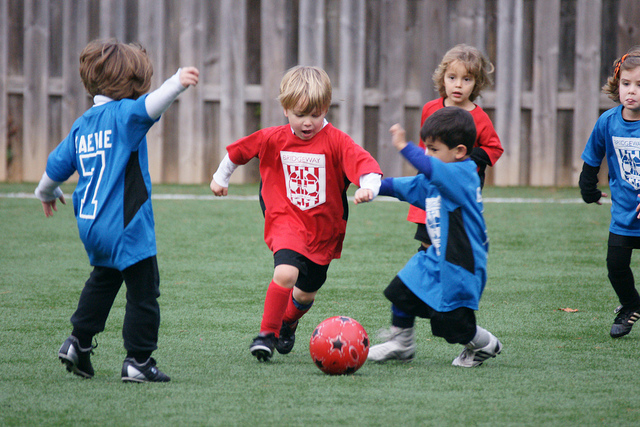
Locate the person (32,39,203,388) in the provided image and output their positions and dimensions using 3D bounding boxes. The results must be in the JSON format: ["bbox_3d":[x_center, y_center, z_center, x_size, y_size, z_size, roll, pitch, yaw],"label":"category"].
[{"bbox_3d":[-1.618,-0.007,9.263,1.179,2.714,0.555,0,5,-1],"label":"person"}]

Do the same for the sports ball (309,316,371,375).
[{"bbox_3d":[0.150,1.081,9.326,0.423,0.464,0.423,2,0,0],"label":"sports ball"}]

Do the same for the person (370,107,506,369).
[{"bbox_3d":[1.006,0.150,9.975,1.033,2.134,1.455,1,6,3],"label":"person"}]

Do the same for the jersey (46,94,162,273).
[{"bbox_3d":[-1.704,-0.253,9.203,0.773,1.358,0.307,0,5,0],"label":"jersey"}]

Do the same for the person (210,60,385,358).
[{"bbox_3d":[-0.169,-0.009,9.608,1.333,2.424,0.622,0,5,-2],"label":"person"}]
